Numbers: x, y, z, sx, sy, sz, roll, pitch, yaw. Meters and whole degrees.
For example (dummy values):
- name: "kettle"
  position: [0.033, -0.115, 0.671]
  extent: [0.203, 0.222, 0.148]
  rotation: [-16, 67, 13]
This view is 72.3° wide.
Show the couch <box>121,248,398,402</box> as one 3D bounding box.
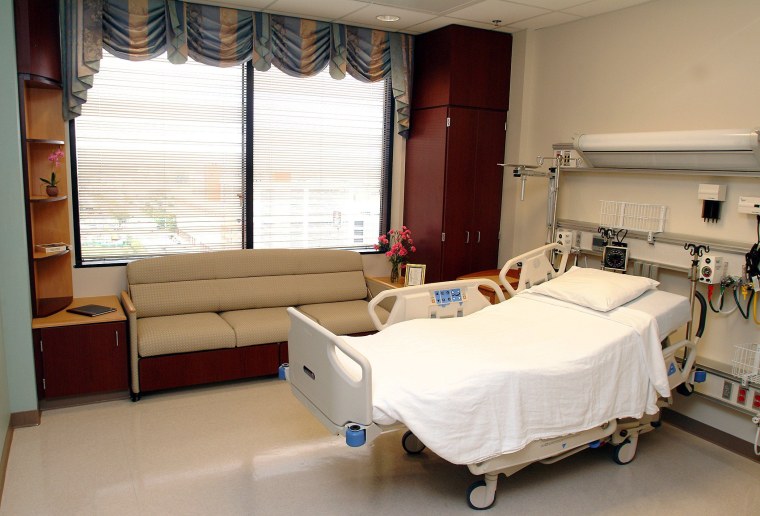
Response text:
- name: "couch"
  position: [-1.201, 0.589, 5.474]
  extent: [2.719, 1.159, 1.026]
  rotation: [-2, 15, -31]

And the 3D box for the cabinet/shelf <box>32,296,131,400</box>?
- name: "cabinet/shelf"
  position: [-2.746, 0.812, 4.837]
  extent: [0.735, 0.710, 0.733]
  rotation: [-2, 2, -26]

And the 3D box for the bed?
- name: "bed"
  position: [0.891, 0.732, 3.965]
  extent: [2.875, 1.432, 1.656]
  rotation: [-9, 15, -27]

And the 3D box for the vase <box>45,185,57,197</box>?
- name: "vase"
  position: [-2.916, -0.593, 4.618]
  extent: [0.087, 0.066, 0.089]
  rotation: [0, -2, 32]

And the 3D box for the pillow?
- name: "pillow"
  position: [1.704, 0.245, 4.196]
  extent: [0.525, 0.125, 0.500]
  rotation: [-21, 16, -37]

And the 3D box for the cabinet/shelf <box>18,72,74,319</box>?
- name: "cabinet/shelf"
  position: [-2.952, -0.509, 4.616]
  extent: [0.416, 2.001, 0.767]
  rotation: [-7, 12, -28]

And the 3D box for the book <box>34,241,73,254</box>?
- name: "book"
  position: [-2.955, -0.077, 4.676]
  extent: [0.260, 0.083, 0.340]
  rotation: [-5, 10, -21]

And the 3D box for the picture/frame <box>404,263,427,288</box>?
- name: "picture/frame"
  position: [0.363, 0.183, 5.309]
  extent: [0.229, 0.283, 0.030]
  rotation: [3, 7, -6]

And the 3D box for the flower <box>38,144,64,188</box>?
- name: "flower"
  position: [-2.980, -0.821, 4.716]
  extent: [0.220, 0.381, 0.215]
  rotation: [5, 3, 4]

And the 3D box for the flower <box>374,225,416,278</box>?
- name: "flower"
  position: [0.233, -0.100, 6.259]
  extent: [0.552, 0.761, 0.548]
  rotation: [-4, 7, -32]
